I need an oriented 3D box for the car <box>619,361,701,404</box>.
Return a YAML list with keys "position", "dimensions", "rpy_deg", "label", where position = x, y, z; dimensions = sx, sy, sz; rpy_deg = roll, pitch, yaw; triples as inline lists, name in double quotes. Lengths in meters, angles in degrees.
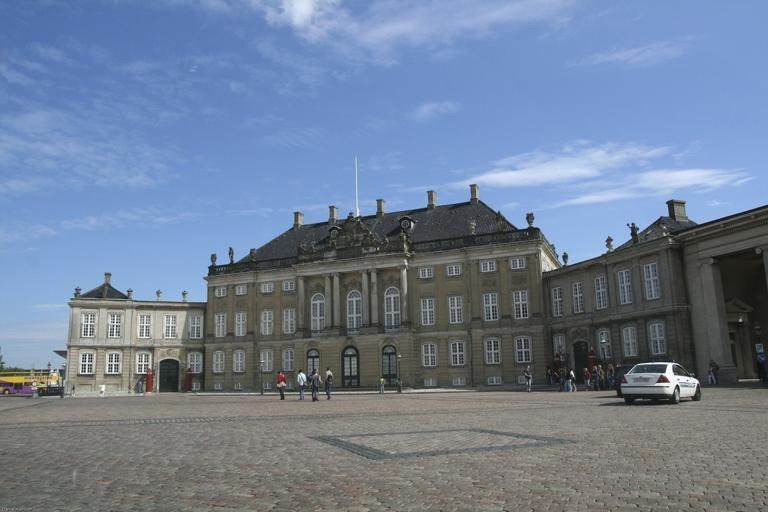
- position: [12.864, 5.960, 29.414]
  dimensions: [3.524, 1.917, 1.767]
  rpy_deg: [5, -15, -32]
  label: "car"
